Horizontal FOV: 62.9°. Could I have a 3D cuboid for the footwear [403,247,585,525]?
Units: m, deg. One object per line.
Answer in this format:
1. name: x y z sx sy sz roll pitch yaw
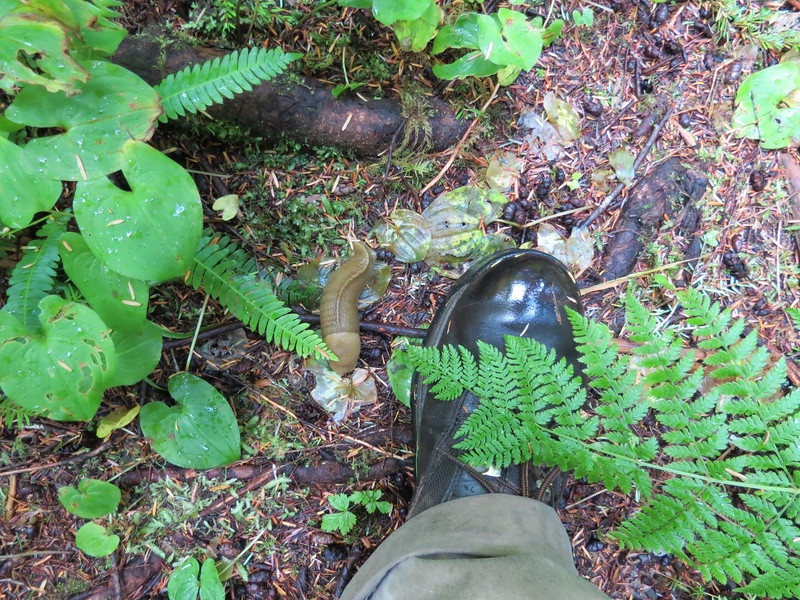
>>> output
1. footwear: 0.461 0.258 3.196 0.537 0.631 1.657 12 93 6
